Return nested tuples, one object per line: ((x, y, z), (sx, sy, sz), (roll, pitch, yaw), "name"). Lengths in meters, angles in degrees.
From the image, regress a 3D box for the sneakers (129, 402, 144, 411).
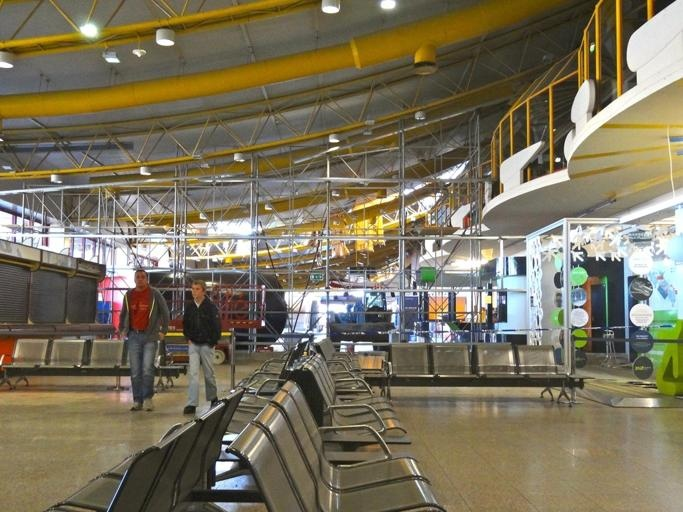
((-2.802, 2.036, 8.471), (0.174, 0.119, 0.096), (-9, 1, -6), "sneakers")
